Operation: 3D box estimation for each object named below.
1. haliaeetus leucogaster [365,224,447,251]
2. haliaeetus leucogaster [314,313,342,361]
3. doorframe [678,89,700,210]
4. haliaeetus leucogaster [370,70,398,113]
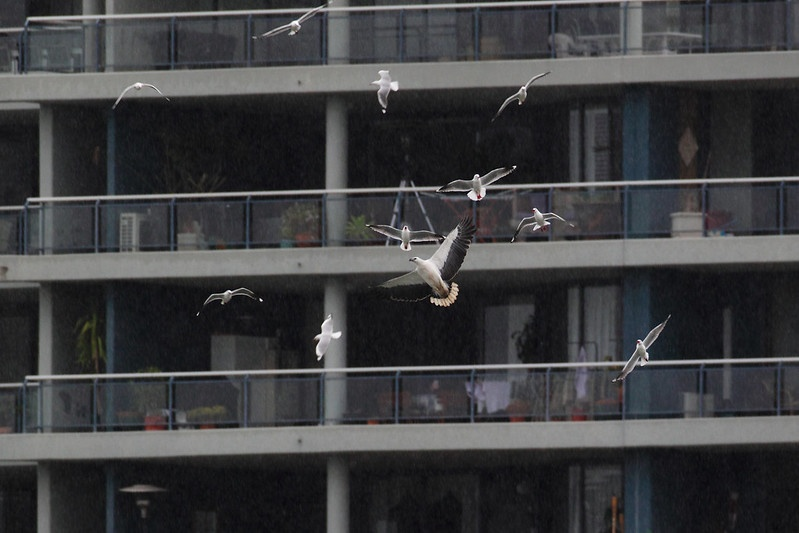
[{"bbox_3d":[0.279,-0.772,60.088,1.420,0.306,0.650,10,-66,7],"label":"haliaeetus leucogaster"},{"bbox_3d":[-1.553,1.695,61.426,0.554,0.252,0.990,23,5,-24],"label":"haliaeetus leucogaster"},{"bbox_3d":[6.911,-2.539,65.959,0.711,3.463,0.062,-3,13,-10],"label":"doorframe"},{"bbox_3d":[-0.262,-4.138,62.275,0.673,0.443,1.235,-4,-66,10],"label":"haliaeetus leucogaster"}]
